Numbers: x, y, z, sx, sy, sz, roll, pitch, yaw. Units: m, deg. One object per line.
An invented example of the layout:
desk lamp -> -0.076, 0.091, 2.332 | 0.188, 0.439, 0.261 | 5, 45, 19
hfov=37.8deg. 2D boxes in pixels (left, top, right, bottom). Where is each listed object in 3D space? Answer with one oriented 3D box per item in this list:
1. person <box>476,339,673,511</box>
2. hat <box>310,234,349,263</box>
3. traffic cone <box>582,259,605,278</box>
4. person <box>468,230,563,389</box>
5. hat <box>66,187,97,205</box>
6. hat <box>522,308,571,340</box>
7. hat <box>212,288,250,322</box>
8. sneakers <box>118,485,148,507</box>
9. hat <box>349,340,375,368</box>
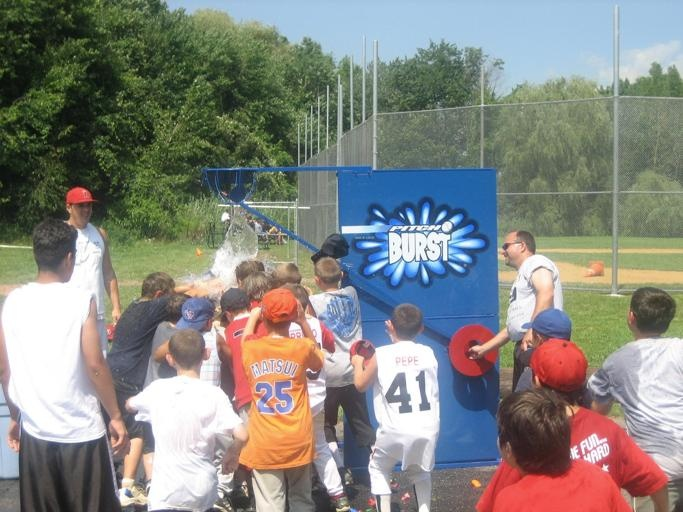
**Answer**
person -> 2.652, 1.935, 11.266 | 1.380, 2.953, 1.004 | -6, 22, -11
hat -> -0.168, -0.114, 13.123 | 0.444, 0.255, 0.304 | -27, 39, -3
traffic cone -> 5.402, 0.267, 21.368 | 0.296, 0.343, 0.312 | 0, 6, -11
person -> 2.228, 0.764, 13.102 | 1.068, 2.853, 1.011 | 3, -30, 7
hat -> -3.553, -0.800, 13.352 | 0.449, 0.300, 0.339 | 0, 7, 36
hat -> 2.462, 0.804, 11.873 | 0.288, 0.274, 0.421 | -5, 18, -36
hat -> -1.426, 0.646, 12.787 | 0.300, 0.478, 0.438 | 1, 18, -17
sneakers -> -2.645, 3.038, 12.565 | 0.464, 0.231, 0.166 | 8, 4, -21
hat -> 0.259, 1.246, 12.805 | 0.210, 0.309, 0.324 | -3, -33, 4
